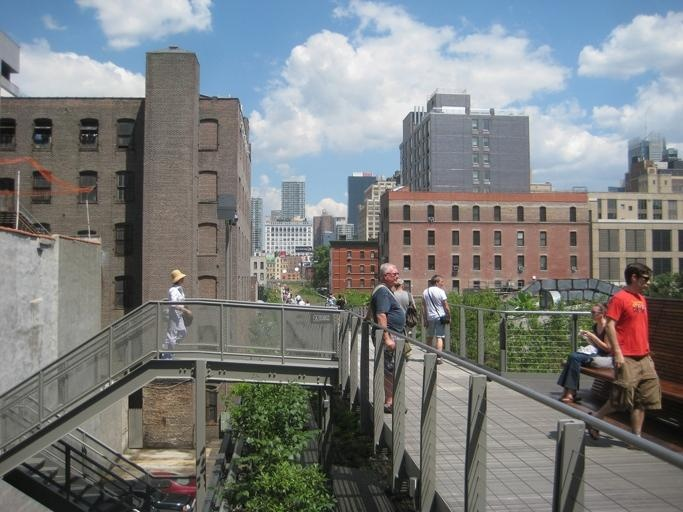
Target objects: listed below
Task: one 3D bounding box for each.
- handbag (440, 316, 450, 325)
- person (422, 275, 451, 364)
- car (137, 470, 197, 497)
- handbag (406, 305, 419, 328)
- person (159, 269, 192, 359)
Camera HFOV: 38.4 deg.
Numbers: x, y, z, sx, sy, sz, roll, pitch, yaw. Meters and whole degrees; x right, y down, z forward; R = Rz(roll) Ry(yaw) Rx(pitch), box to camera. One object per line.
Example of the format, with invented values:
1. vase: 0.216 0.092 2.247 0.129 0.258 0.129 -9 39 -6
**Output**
1. handbag: 3.467 2.183 33.345 0.266 0.277 0.283 -11 -10 29
2. person: 3.212 1.887 33.576 0.663 1.895 1.028 1 0 -38
3. car: -7.274 9.712 41.414 2.669 0.837 1.676 10 -5 -1
4. handbag: 2.140 1.853 30.340 0.357 0.483 0.502 0 0 5
5. person: -5.816 2.038 34.299 0.763 2.592 0.759 1 0 -45
